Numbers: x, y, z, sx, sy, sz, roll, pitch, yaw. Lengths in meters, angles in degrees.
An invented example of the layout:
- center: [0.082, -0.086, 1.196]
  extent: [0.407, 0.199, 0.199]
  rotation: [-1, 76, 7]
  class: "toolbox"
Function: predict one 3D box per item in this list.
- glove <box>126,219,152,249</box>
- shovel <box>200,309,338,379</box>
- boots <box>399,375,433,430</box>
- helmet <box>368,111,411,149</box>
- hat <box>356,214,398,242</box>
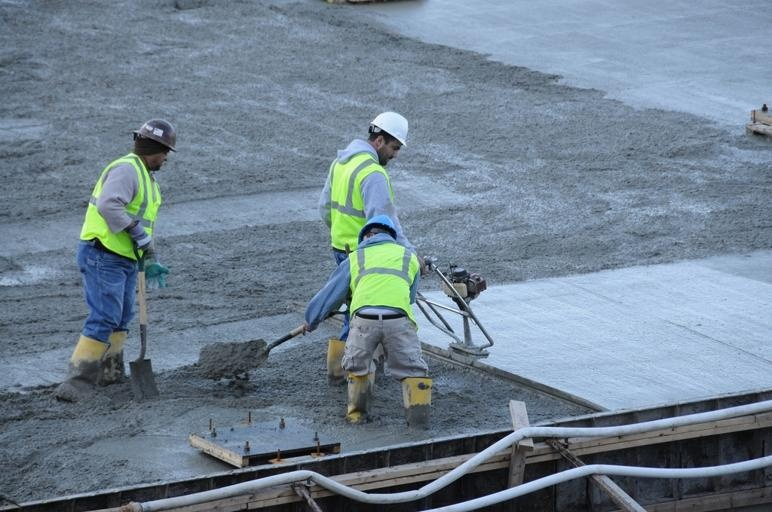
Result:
- center: [-3.246, -0.276, 23.319]
  extent: [0.312, 0.351, 0.218]
  rotation: [-7, 37, -31]
  class: "glove"
- center: [-1.510, 1.118, 23.514]
  extent: [0.110, 2.316, 0.571]
  rotation: [49, 27, -46]
  class: "shovel"
- center: [0.401, 1.882, 22.978]
  extent: [0.391, 0.644, 0.471]
  rotation: [2, 32, -20]
  class: "boots"
- center: [0.087, -1.754, 23.623]
  extent: [0.466, 0.298, 0.580]
  rotation: [6, 6, -43]
  class: "helmet"
- center: [-0.121, -0.388, 23.150]
  extent: [0.346, 0.444, 0.205]
  rotation: [36, 53, -25]
  class: "hat"
